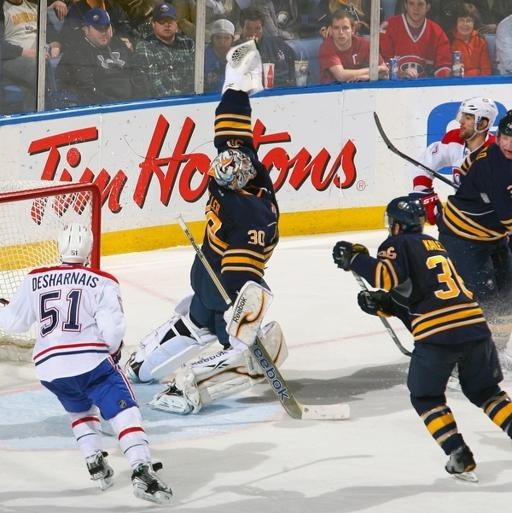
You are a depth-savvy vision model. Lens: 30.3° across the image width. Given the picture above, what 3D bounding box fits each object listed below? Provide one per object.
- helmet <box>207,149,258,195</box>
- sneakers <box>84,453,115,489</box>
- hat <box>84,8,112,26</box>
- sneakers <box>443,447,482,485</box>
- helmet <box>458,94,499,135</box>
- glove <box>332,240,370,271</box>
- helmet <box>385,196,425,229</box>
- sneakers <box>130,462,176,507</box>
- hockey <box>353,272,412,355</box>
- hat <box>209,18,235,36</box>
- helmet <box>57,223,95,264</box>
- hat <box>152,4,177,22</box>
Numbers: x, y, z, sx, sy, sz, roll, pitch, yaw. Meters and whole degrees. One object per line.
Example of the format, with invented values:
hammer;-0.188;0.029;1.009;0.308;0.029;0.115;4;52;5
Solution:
helmet;-0.075;-0.417;4.529;0.229;0.157;0.190;2;10;30
sneakers;-0.611;0.842;3.750;0.075;0.099;0.178;-13;8;3
hat;-1.250;-1.929;7.606;0.136;0.083;0.179;-12;16;-42
sneakers;0.833;0.841;3.836;0.083;0.118;0.190;-3;14;-8
helmet;1.323;-0.842;5.614;0.249;0.197;0.177;8;11;4
glove;0.435;-0.019;4.213;0.069;0.109;0.155;-29;25;-34
helmet;0.631;-0.207;4.120;0.139;0.142;0.164;-6;26;-21
sneakers;-0.399;0.876;3.642;0.145;0.140;0.113;-2;14;-8
hockey;0.656;0.308;4.838;0.083;0.690;0.036;-47;32;-19
hat;-0.297;-1.986;8.163;0.160;0.089;0.197;1;11;-1
helmet;-0.744;-0.055;3.942;0.143;0.147;0.171;6;11;-9
hat;-0.764;-2.046;7.924;0.217;0.137;0.046;-7;16;-27
